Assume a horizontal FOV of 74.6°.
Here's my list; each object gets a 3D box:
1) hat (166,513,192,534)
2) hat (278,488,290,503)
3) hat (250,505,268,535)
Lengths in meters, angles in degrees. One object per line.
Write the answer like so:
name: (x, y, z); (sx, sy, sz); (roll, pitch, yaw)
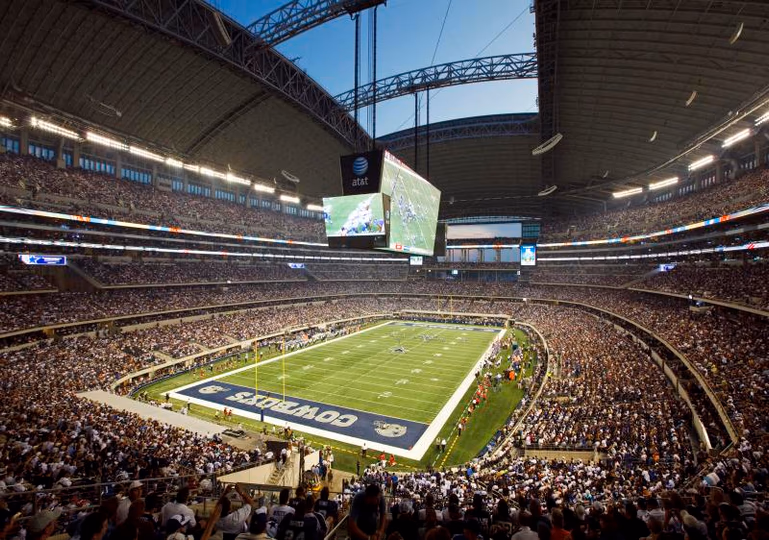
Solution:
hat: (-7.426, 9.086, 18.286); (0.536, 0.444, 0.863); (1, 7, 16)
hat: (-3.694, 8.340, 18.726); (0.407, 0.523, 0.521); (5, 1, 1)
hat: (-4.351, 8.819, 17.538); (0.622, 0.958, 0.312); (-5, 7, -23)
